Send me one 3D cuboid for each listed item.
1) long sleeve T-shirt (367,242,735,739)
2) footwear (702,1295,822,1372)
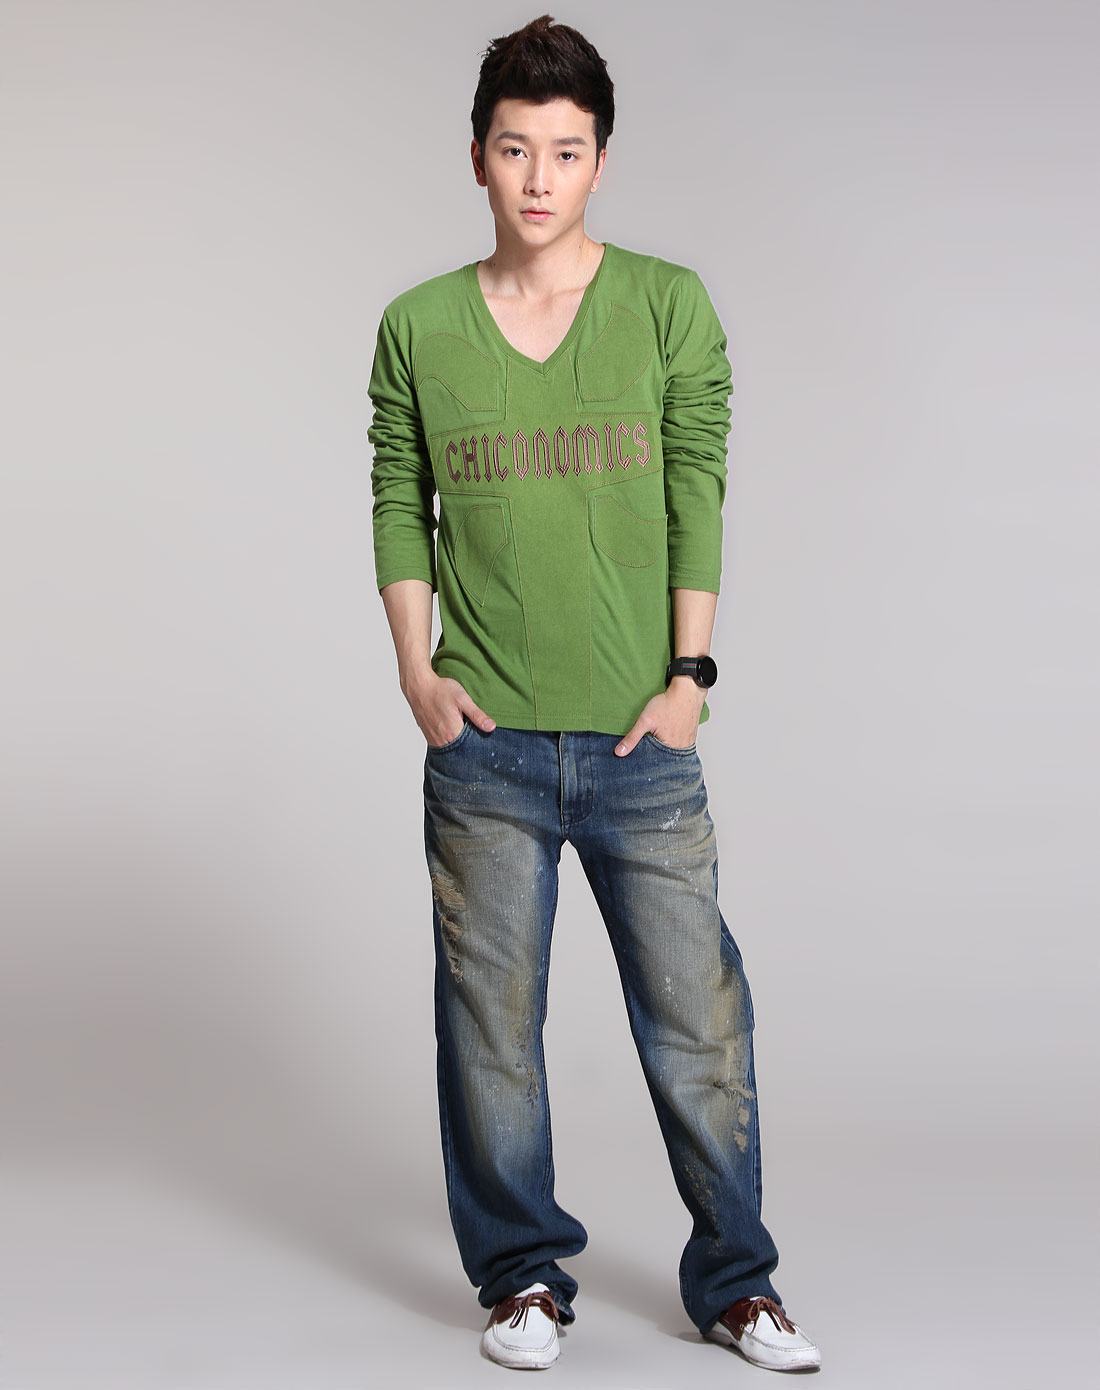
[{"bbox_3d":[-0.009,-0.275,2.025,0.500,0.652,0.215,-1,5,5],"label":"long sleeve T-shirt"},{"bbox_3d":[0.282,0.854,2.025,0.061,0.060,0.159,3,-5,-34],"label":"footwear"}]
